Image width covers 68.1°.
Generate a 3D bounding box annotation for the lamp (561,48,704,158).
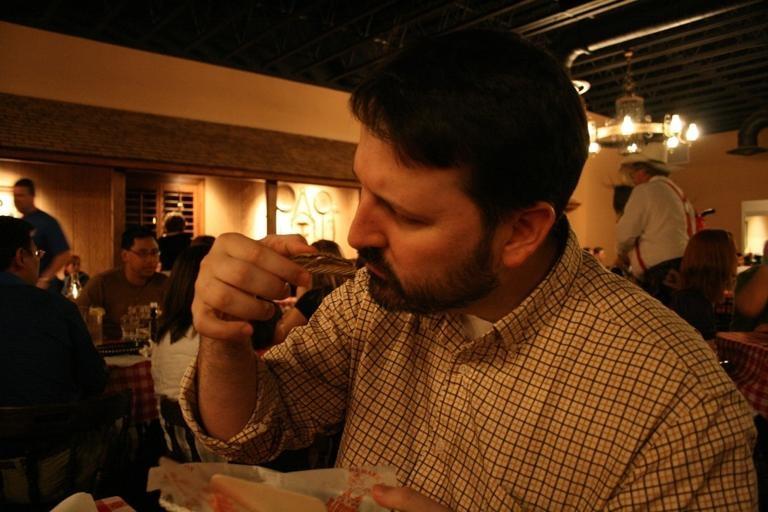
[{"bbox_3d":[2.774,-1.722,6.445,1.375,1.080,1.383,3,13,30],"label":"lamp"}]
